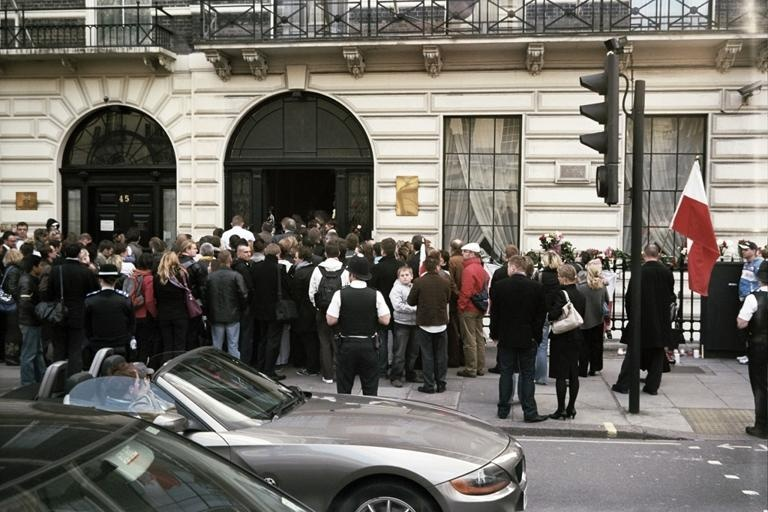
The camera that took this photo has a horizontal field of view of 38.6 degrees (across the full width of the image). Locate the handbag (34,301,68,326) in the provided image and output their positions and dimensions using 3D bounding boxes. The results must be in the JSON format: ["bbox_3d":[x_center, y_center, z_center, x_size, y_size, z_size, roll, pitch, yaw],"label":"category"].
[{"bbox_3d":[-6.583,1.085,21.863,0.721,0.682,0.388,2,7,6],"label":"handbag"}]

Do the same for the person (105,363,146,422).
[{"bbox_3d":[-4.004,2.133,16.908,0.748,0.606,0.897,-1,-5,0],"label":"person"}]

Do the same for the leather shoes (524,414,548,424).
[{"bbox_3d":[2.879,3.098,21.133,0.495,0.203,0.164,-7,5,-6],"label":"leather shoes"}]

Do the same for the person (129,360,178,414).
[{"bbox_3d":[-3.696,2.091,17.401,0.733,0.719,0.645,-1,2,-12],"label":"person"}]

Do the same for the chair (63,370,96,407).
[{"bbox_3d":[-4.786,2.048,17.155,0.487,0.423,0.665,-1,2,-16],"label":"chair"}]

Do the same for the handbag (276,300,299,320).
[{"bbox_3d":[-2.035,1.107,23.015,0.384,0.472,0.513,-5,-2,29],"label":"handbag"}]

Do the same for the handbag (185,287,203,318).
[{"bbox_3d":[-3.912,0.964,22.413,0.253,0.568,0.593,-9,2,-41],"label":"handbag"}]

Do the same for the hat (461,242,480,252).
[{"bbox_3d":[1.813,-0.172,23.354,0.320,0.119,0.223,12,2,14],"label":"hat"}]

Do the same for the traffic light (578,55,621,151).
[{"bbox_3d":[4.102,-2.894,21.021,0.699,1.960,0.499,0,2,15],"label":"traffic light"}]

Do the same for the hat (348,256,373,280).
[{"bbox_3d":[-0.517,0.191,20.429,0.375,0.194,0.475,4,21,-31],"label":"hat"}]

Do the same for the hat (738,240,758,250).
[{"bbox_3d":[8.239,-0.272,25.008,0.434,0.154,0.286,14,-3,-31],"label":"hat"}]

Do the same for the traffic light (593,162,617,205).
[{"bbox_3d":[4.229,-1.367,20.930,0.453,0.759,0.375,1,3,34],"label":"traffic light"}]

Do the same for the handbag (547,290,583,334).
[{"bbox_3d":[3.488,1.084,21.176,0.306,0.692,0.627,10,-32,-38],"label":"handbag"}]

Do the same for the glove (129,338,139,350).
[{"bbox_3d":[-4.738,1.659,20.749,0.181,0.235,0.089,-7,4,-23],"label":"glove"}]

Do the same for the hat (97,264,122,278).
[{"bbox_3d":[-5.264,0.278,20.933,0.345,0.270,0.404,-1,2,-10],"label":"hat"}]

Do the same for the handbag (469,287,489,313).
[{"bbox_3d":[1.956,0.925,23.171,0.246,0.350,0.473,6,26,45],"label":"handbag"}]

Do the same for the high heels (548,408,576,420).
[{"bbox_3d":[3.441,3.070,21.179,0.243,0.122,0.323,-4,7,-39],"label":"high heels"}]
